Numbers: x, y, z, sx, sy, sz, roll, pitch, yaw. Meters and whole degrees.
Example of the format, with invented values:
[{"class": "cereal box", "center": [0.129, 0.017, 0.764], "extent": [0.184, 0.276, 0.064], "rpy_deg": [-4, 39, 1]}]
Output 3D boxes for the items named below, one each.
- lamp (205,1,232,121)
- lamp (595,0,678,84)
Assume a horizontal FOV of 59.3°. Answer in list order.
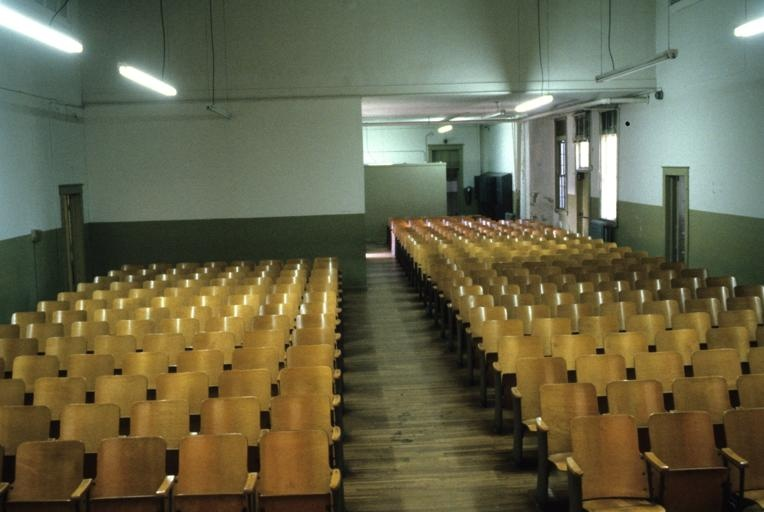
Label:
[{"class": "lamp", "center": [-3.581, -4.241, 14.534], "extent": [0.464, 2.521, 0.291], "rpy_deg": [-3, 7, -13]}, {"class": "lamp", "center": [5.200, -4.490, 13.382], "extent": [1.420, 1.734, 3.928], "rpy_deg": [2, 8, 24]}]
